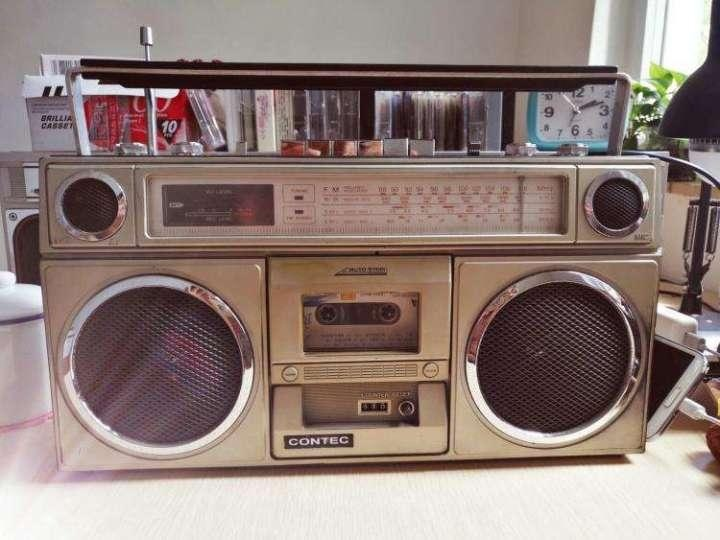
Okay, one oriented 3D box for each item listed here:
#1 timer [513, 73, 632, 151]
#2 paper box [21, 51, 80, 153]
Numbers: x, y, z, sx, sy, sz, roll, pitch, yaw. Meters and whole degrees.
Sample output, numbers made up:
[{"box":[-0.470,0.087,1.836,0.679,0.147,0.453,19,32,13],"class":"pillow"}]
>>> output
[{"box":[0.539,-0.403,1.591,0.236,0.211,0.126,3,26,17],"class":"timer"},{"box":[-1.086,-0.611,2.338,0.273,0.317,0.270,-10,20,-37],"class":"paper box"}]
